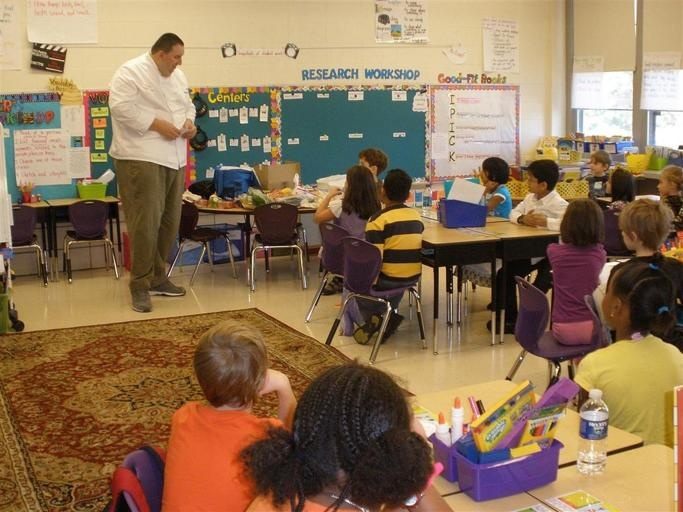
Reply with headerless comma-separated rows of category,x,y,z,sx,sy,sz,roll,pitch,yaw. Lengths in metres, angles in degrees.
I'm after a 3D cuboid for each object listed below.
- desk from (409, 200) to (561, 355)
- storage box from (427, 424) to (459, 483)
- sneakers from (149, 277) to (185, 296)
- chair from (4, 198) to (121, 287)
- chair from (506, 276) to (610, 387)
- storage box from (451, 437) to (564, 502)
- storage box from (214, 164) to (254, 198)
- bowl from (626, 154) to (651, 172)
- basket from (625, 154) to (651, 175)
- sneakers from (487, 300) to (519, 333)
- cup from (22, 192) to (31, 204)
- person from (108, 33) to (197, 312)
desk,1.010,-0.076,4.640,0.874,0.824,1.561,-5,12,-21
storage box,0.293,0.566,1.633,0.101,0.129,0.108,-4,8,-13
sneakers,-1.760,0.320,5.771,0.402,0.193,0.140,0,4,-8
chair,-3.067,-0.221,6.409,1.056,0.896,0.902,-4,8,-21
chair,1.213,0.479,3.230,0.494,0.676,0.450,-3,9,-22
storage box,0.454,0.543,1.538,0.208,0.086,0.158,-10,10,-22
storage box,-1.219,-0.827,6.721,0.528,0.381,0.485,1,2,8
bowl,3.656,-1.135,6.922,0.233,0.203,0.220,2,3,0
basket,3.613,-1.127,6.952,0.294,0.254,0.278,2,3,7
sneakers,1.355,0.470,4.672,0.294,0.293,0.298,1,-2,2
cup,-3.543,-0.663,6.329,0.105,0.128,0.068,-3,8,-19
person,-1.767,-0.762,5.353,0.755,2.511,0.545,-4,8,-23
